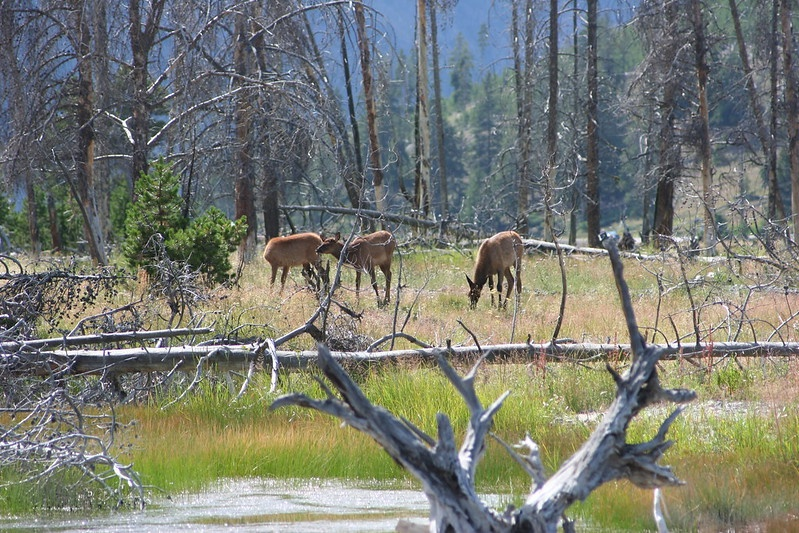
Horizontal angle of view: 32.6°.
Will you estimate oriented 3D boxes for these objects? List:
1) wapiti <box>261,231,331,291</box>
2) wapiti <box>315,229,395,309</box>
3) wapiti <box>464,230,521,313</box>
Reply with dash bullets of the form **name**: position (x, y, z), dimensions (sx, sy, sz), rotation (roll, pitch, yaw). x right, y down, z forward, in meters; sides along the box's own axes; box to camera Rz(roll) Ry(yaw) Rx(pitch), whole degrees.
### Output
- **wapiti**: position (-3.563, -0.209, 44.447), dimensions (2.398, 2.352, 0.715), rotation (-4, 9, -30)
- **wapiti**: position (-1.190, 0.034, 43.440), dimensions (2.087, 2.388, 2.434), rotation (-4, 5, -1)
- **wapiti**: position (3.106, 0.253, 43.655), dimensions (0.672, 2.510, 2.714), rotation (4, 13, 41)
